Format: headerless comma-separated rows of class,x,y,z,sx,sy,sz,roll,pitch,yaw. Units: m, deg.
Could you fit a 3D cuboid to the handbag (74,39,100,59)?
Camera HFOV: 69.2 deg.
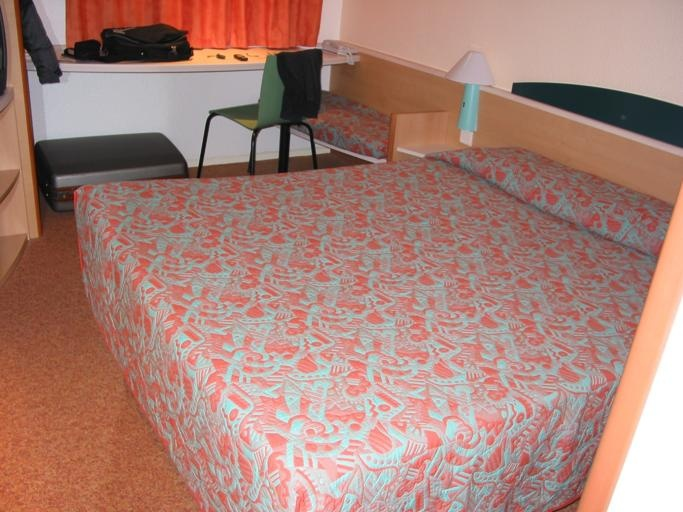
handbag,-1.708,-1.369,3.327,0.168,0.128,0.226,-9,27,-21

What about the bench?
bench,0.017,-1.047,3.971,0.626,0.197,1.119,-21,34,-34

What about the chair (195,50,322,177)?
chair,-0.511,-0.959,3.655,0.649,0.861,0.804,-20,26,-38

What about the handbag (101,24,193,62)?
handbag,-1.336,-1.446,3.429,0.527,0.143,0.382,-7,26,-22

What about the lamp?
lamp,0.871,-1.071,3.332,0.304,0.537,0.249,-21,36,-35
